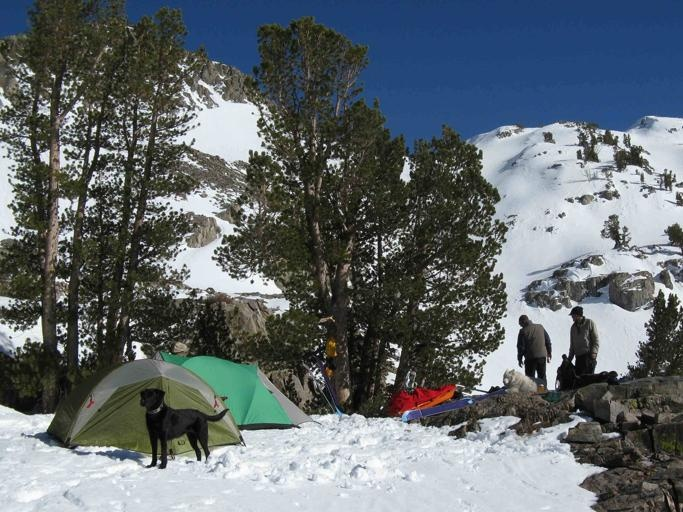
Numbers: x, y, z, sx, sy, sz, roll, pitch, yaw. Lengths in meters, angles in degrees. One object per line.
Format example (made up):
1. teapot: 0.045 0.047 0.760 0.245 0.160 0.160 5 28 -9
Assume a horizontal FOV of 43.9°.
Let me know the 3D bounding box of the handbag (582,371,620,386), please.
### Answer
1. handbag: 8.998 4.234 29.080 0.634 0.328 0.836 7 -12 -43

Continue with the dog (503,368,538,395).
1. dog: 6.301 4.407 29.696 1.074 0.679 0.717 10 -9 -1

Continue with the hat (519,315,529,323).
1. hat: 6.776 2.364 31.203 0.245 0.362 0.328 3 -1 -12
